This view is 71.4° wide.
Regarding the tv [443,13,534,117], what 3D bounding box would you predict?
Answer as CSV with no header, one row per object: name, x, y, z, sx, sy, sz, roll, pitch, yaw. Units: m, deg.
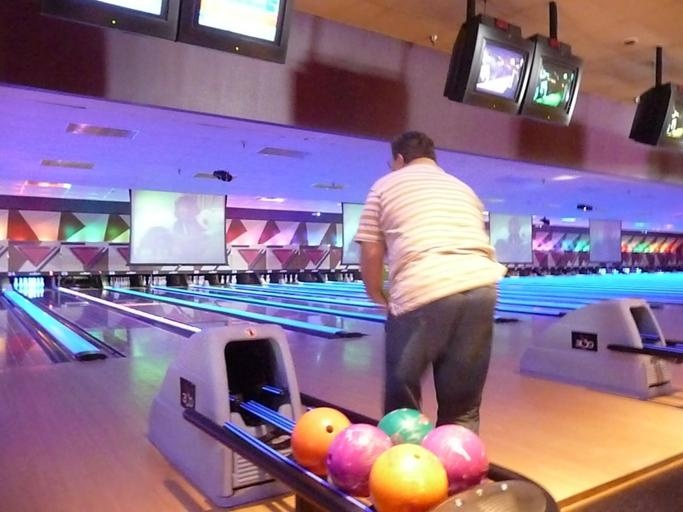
tv,1.068,-1.387,3.447,0.558,0.607,0.332,2,18,-24

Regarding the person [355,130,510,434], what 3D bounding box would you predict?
person,0.313,0.080,1.712,0.523,1.111,0.383,3,2,18

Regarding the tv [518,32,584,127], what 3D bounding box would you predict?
tv,1.574,-1.342,3.695,0.408,0.618,0.317,12,2,-8
